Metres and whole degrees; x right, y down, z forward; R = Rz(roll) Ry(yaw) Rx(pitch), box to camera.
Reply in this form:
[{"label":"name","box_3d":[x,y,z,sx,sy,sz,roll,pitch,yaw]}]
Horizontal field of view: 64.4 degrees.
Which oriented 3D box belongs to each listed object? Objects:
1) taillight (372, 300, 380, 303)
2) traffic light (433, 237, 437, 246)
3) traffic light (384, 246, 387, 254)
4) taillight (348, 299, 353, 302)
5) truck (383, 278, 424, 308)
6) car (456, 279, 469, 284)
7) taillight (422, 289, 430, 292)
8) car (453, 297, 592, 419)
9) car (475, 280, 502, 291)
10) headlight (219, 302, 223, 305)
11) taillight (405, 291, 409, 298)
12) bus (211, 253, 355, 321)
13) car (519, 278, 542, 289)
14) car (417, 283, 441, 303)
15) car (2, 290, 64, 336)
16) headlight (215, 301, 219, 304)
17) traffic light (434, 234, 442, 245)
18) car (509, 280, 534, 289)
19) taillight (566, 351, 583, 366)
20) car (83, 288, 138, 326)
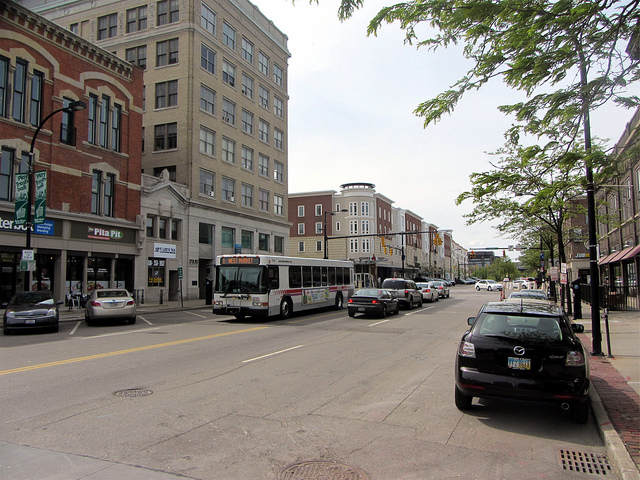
[{"label":"taillight","box_3d":[2.712,3.009,24.932,0.305,0.120,0.095,1,0,5]},{"label":"traffic light","box_3d":[11.844,0.119,52.244,0.268,0.658,1.474,1,-1,13]},{"label":"traffic light","box_3d":[8.040,1.220,62.806,0.134,1.335,1.120,-1,-1,18]},{"label":"taillight","box_3d":[1.561,3.022,25.400,0.213,0.159,0.213,4,-6,-22]},{"label":"truck","box_3d":[5.305,3.260,32.181,1.368,1.229,3.128,-2,-1,27]},{"label":"car","box_3d":[35.870,10.430,128.556,1.840,0.899,1.162,-5,-2,4]},{"label":"taillight","box_3d":[7.995,3.819,38.285,0.570,0.186,0.144,1,0,-21]},{"label":"car","box_3d":[3.971,2.213,10.220,1.526,1.351,2.940,0,-2,19]},{"label":"car","box_3d":[22.601,6.109,68.507,1.381,1.038,2.991,2,-8,-27]},{"label":"headlight","box_3d":[-4.552,2.881,23.140,0.125,0.089,0.072,-1,-14,1]},{"label":"taillight","box_3d":[5.257,3.315,30.957,0.283,0.548,0.294,0,1,5]},{"label":"bus","box_3d":[-1.842,2.325,26.751,3.104,3.169,12.256,-3,-10,28]},{"label":"car","box_3d":[30.594,6.378,74.118,2.058,1.805,3.618,1,4,34]},{"label":"car","box_3d":[8.489,4.107,39.331,1.068,0.795,2.450,-4,-15,18]},{"label":"car","box_3d":[-11.246,2.849,19.710,1.820,1.589,1.780,1,-1,-45]},{"label":"headlight","box_3d":[-4.722,2.865,23.220,0.115,0.080,0.124,-1,-3,8]},{"label":"traffic light","box_3d":[12.123,-0.126,52.422,0.699,1.323,0.303,1,-1,27]},{"label":"car","box_3d":[31.383,6.945,79.242,2.171,0.975,3.273,2,-1,-40]},{"label":"taillight","box_3d":[4.419,2.063,8.843,0.316,0.167,0.102,1,0,-16]},{"label":"car","box_3d":[-9.348,3.050,22.767,1.891,1.519,1.249,1,0,-40]}]
